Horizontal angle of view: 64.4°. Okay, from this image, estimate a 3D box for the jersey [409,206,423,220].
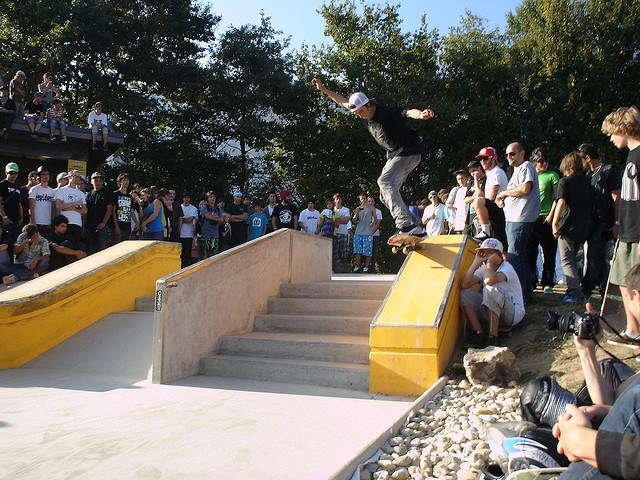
[{"bbox_3d":[2.232,-0.635,11.802,0.615,0.186,0.206,2,20,-34],"label":"jersey"}]

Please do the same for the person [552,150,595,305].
[{"bbox_3d":[3.297,-0.163,6.637,0.474,1.897,0.672,4,13,30],"label":"person"}]

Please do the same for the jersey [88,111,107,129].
[{"bbox_3d":[-6.799,-3.596,15.390,0.466,0.459,0.697,8,16,39],"label":"jersey"}]

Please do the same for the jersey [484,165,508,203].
[{"bbox_3d":[2.618,-0.802,7.473,0.261,0.539,0.449,-3,1,14],"label":"jersey"}]

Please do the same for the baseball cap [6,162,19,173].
[{"bbox_3d":[-5.725,-1.319,9.402,0.178,0.172,0.278,0,9,-38],"label":"baseball cap"}]

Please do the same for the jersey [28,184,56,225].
[{"bbox_3d":[-5.184,-0.650,9.478,0.468,0.741,0.282,-9,13,-31],"label":"jersey"}]

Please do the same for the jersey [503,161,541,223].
[{"bbox_3d":[2.689,-0.638,6.779,0.440,0.779,0.344,3,12,22],"label":"jersey"}]

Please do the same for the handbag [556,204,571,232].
[{"bbox_3d":[3.156,-0.267,6.585,0.096,0.310,0.208,0,-19,16],"label":"handbag"}]

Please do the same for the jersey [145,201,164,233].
[{"bbox_3d":[-3.351,-0.439,10.246,0.368,0.722,0.484,7,-11,-44],"label":"jersey"}]

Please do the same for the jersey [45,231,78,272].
[{"bbox_3d":[-4.640,0.222,9.033,0.426,0.797,0.538,-8,2,32],"label":"jersey"}]

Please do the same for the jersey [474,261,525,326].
[{"bbox_3d":[2.215,0.674,6.266,0.566,0.770,0.393,2,12,20],"label":"jersey"}]

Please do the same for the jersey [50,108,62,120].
[{"bbox_3d":[-7.538,-3.577,14.518,0.199,0.313,0.310,2,3,-2],"label":"jersey"}]

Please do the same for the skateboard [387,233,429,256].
[{"bbox_3d":[1.172,0.049,6.821,0.495,0.291,0.436,-1,12,8],"label":"skateboard"}]

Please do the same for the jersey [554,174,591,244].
[{"bbox_3d":[3.335,-0.422,6.672,0.518,0.889,0.320,9,-13,-9],"label":"jersey"}]

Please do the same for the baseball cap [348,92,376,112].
[{"bbox_3d":[0.556,-1.920,7.007,0.334,0.187,0.225,-32,14,-19],"label":"baseball cap"}]

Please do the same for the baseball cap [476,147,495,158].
[{"bbox_3d":[2.408,-1.285,7.364,0.186,0.125,0.146,9,-3,-9],"label":"baseball cap"}]

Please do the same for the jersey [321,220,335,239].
[{"bbox_3d":[0.163,-0.279,12.775,0.370,0.568,0.291,7,1,1],"label":"jersey"}]

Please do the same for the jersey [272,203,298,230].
[{"bbox_3d":[-0.921,-0.606,12.980,0.627,0.598,0.453,-4,12,-6],"label":"jersey"}]

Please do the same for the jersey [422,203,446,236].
[{"bbox_3d":[2.626,-0.424,11.576,0.612,0.824,0.419,-6,-13,28],"label":"jersey"}]

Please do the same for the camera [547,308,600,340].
[{"bbox_3d":[1.815,0.550,3.617,0.229,0.145,0.216,8,14,40],"label":"camera"}]

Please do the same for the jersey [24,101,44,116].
[{"bbox_3d":[-8.110,-3.668,14.341,0.475,0.366,0.629,-8,14,-25],"label":"jersey"}]

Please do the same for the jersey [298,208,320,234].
[{"bbox_3d":[-0.294,-0.453,12.942,0.612,0.784,0.370,5,-14,-22],"label":"jersey"}]

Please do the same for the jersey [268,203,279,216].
[{"bbox_3d":[-1.220,-0.771,13.094,0.196,0.327,0.267,-2,0,2],"label":"jersey"}]

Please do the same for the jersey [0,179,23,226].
[{"bbox_3d":[-5.761,-0.688,9.450,0.306,0.827,0.484,-6,12,-20],"label":"jersey"}]

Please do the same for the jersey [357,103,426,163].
[{"bbox_3d":[1.034,-1.532,7.191,0.838,0.782,0.452,0,12,12],"label":"jersey"}]

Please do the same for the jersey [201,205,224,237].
[{"bbox_3d":[-2.609,-0.426,12.104,0.521,0.892,0.425,4,6,-44],"label":"jersey"}]

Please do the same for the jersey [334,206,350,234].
[{"bbox_3d":[0.531,-0.481,13.050,0.565,0.841,0.279,-2,-8,3],"label":"jersey"}]

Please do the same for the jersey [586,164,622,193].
[{"bbox_3d":[3.741,-0.819,6.722,0.394,0.320,0.528,4,14,28],"label":"jersey"}]

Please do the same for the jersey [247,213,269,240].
[{"bbox_3d":[-1.541,-0.323,12.228,0.570,0.821,0.315,1,-38,1],"label":"jersey"}]

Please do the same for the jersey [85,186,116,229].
[{"bbox_3d":[-4.460,-0.616,10.178,0.684,0.904,0.290,-9,-10,4],"label":"jersey"}]

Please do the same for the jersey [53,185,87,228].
[{"bbox_3d":[-4.752,-0.618,9.574,0.305,0.956,0.705,-6,-1,43],"label":"jersey"}]

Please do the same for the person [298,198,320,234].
[{"bbox_3d":[-0.246,-0.577,13.228,0.578,1.029,0.568,2,4,-8],"label":"person"}]

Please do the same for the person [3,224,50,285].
[{"bbox_3d":[-5.031,0.237,8.884,0.599,1.027,0.937,9,11,-6],"label":"person"}]

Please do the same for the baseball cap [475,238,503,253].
[{"bbox_3d":[2.135,0.074,6.286,0.209,0.133,0.160,2,-6,6],"label":"baseball cap"}]

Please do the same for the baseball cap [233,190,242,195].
[{"bbox_3d":[-2.160,-1.207,13.050,0.189,0.061,0.224,11,8,23],"label":"baseball cap"}]

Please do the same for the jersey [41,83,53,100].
[{"bbox_3d":[-8.094,-4.383,15.123,0.189,0.429,0.463,-2,12,0],"label":"jersey"}]

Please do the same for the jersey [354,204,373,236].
[{"bbox_3d":[1.083,-0.482,12.623,0.445,0.354,0.995,-15,32,24],"label":"jersey"}]

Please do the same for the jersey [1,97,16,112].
[{"bbox_3d":[-8.253,-3.562,13.507,0.217,0.423,0.428,5,0,4],"label":"jersey"}]

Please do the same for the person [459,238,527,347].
[{"bbox_3d":[2.046,0.643,6.212,0.680,1.222,0.817,9,16,43],"label":"person"}]
